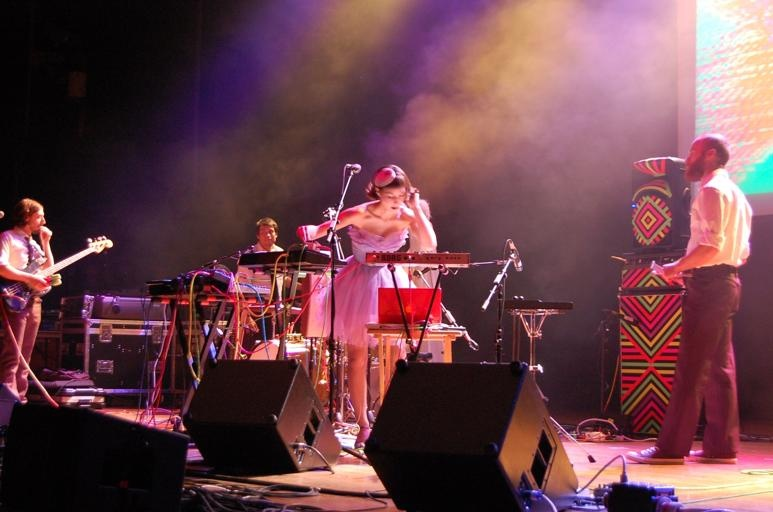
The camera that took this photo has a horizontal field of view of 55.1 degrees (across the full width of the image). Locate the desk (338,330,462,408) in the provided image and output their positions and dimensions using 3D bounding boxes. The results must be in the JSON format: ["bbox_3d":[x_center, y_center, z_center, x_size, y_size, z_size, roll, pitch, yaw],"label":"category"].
[{"bbox_3d":[0.218,0.840,6.357,0.802,0.827,0.840,0,-13,3],"label":"desk"}]

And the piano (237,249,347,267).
[{"bbox_3d":[-0.785,0.011,5.854,0.749,0.168,0.267,2,-1,13],"label":"piano"}]

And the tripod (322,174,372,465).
[{"bbox_3d":[-0.154,0.648,5.490,0.445,1.824,0.471,-4,8,-1],"label":"tripod"}]

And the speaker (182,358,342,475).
[{"bbox_3d":[-0.915,1.113,5.336,0.802,0.714,0.799,-3,-11,26],"label":"speaker"}]

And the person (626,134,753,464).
[{"bbox_3d":[2.498,0.319,5.898,0.531,2.640,0.771,2,0,42],"label":"person"}]

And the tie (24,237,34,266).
[{"bbox_3d":[-3.754,-0.050,7.847,0.051,0.310,0.088,3,16,31],"label":"tie"}]
